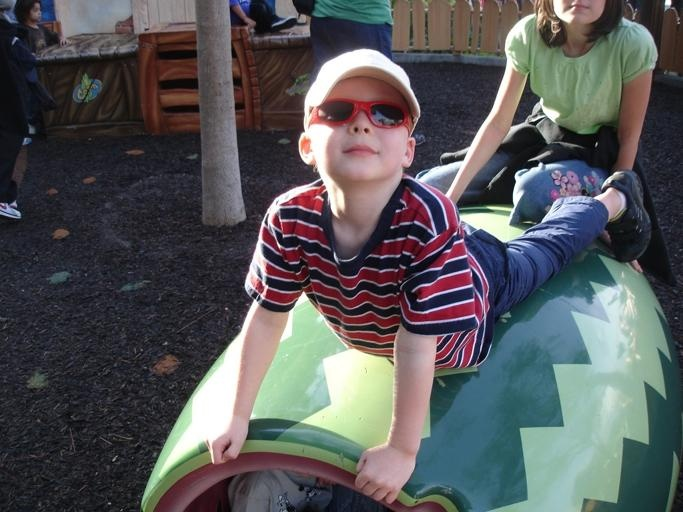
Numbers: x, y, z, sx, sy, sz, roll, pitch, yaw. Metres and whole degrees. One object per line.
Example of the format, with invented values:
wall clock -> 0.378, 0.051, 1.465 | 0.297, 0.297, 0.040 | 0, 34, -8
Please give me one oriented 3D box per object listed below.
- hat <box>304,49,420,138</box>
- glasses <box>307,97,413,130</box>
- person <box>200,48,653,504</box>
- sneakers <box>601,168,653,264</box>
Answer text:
hat -> 0.040, -0.366, 1.477 | 0.251, 0.194, 0.359 | 4, -6, 2
glasses -> 0.046, -0.329, 1.349 | 0.248, 0.075, 0.093 | -3, 26, -3
person -> 0.242, 0.056, 1.715 | 0.588, 1.284, 1.435 | 21, 33, 40
sneakers -> 1.059, -0.132, 2.192 | 0.115, 0.341, 0.188 | 7, -14, -25
